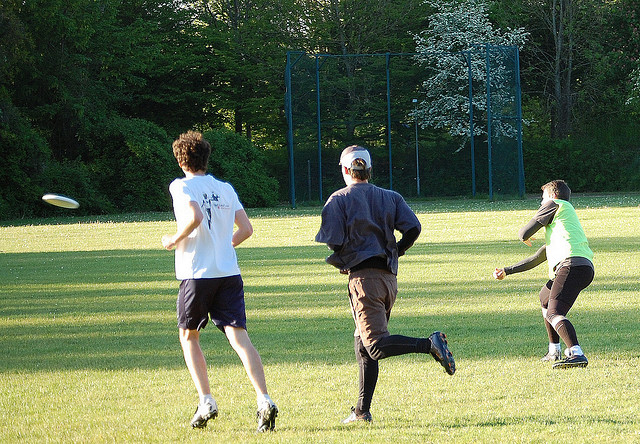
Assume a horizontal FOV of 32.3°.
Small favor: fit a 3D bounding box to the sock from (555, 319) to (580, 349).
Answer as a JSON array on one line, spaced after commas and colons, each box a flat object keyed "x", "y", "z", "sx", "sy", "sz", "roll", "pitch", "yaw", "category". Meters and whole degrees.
[{"x": 6.222, "y": 2.849, "z": 27.995, "sx": 0.545, "sy": 0.729, "sz": 0.290, "roll": -3, "pitch": 6, "yaw": 9, "category": "sock"}]

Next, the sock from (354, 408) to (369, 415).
[{"x": 1.035, "y": 4.646, "z": 26.854, "sx": 0.331, "sy": 0.128, "sz": 0.045, "roll": -4, "pitch": 6, "yaw": -5, "category": "sock"}]
